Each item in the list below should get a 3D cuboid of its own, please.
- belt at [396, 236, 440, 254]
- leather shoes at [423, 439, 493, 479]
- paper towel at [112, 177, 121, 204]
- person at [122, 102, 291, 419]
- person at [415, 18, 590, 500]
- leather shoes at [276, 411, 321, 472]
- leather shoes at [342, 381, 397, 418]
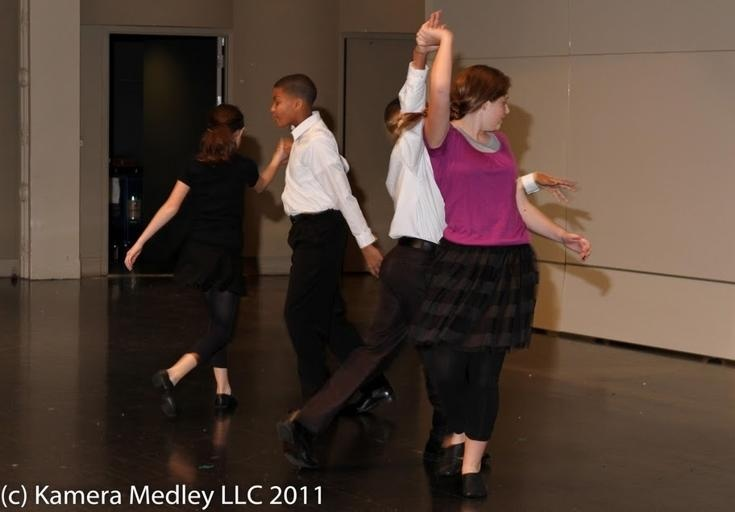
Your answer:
[{"bbox_3d":[0.259,-0.065,3.395,0.127,0.055,0.101,12,7,-10],"label":"belt"},{"bbox_3d":[0.539,1.119,3.741,0.427,0.220,0.159,-1,2,-29],"label":"leather shoes"},{"bbox_3d":[-3.841,-1.025,10.170,0.105,0.416,0.422,-3,10,-26],"label":"paper towel"},{"bbox_3d":[-1.013,0.000,4.281,0.878,1.928,0.383,-1,8,-14],"label":"person"},{"bbox_3d":[0.594,0.045,3.409,0.807,2.347,0.401,-3,8,-28],"label":"person"},{"bbox_3d":[-0.378,1.007,3.658,0.158,0.414,0.144,-25,15,-4],"label":"leather shoes"},{"bbox_3d":[0.019,0.903,4.391,0.154,0.214,0.464,-15,0,39],"label":"leather shoes"}]
